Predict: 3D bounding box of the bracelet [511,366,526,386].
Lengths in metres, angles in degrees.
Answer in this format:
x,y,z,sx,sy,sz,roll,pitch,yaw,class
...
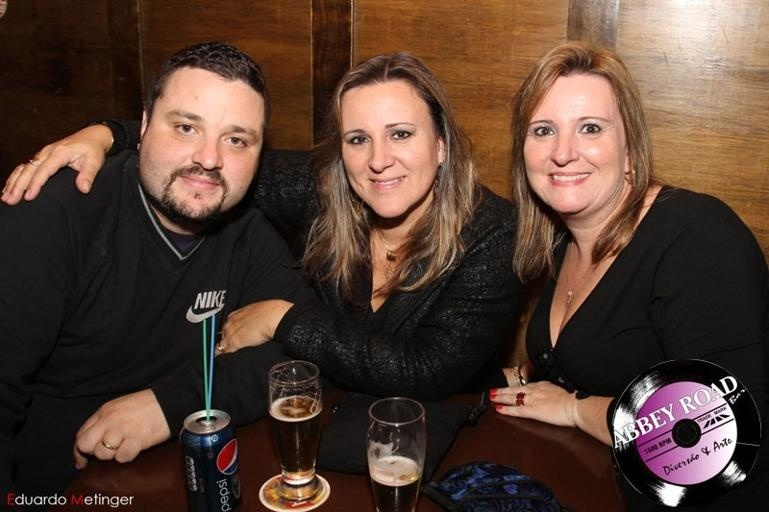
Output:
x,y,z,sx,sy,sz,roll,pitch,yaw,class
0.641,0.581,2.935,0.044,0.110,0.036,-38,39,0,bracelet

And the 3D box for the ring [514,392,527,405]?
x,y,z,sx,sy,sz,roll,pitch,yaw,class
0.525,0.550,2.370,0.033,0.038,0.039,5,29,16,ring

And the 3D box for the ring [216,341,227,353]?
x,y,z,sx,sy,sz,roll,pitch,yaw,class
-0.711,0.399,2.661,0.041,0.052,0.024,1,7,27,ring

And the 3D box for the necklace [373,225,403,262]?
x,y,z,sx,sy,sz,roll,pitch,yaw,class
0.003,-0.022,2.936,0.140,0.173,0.066,7,-7,5,necklace
